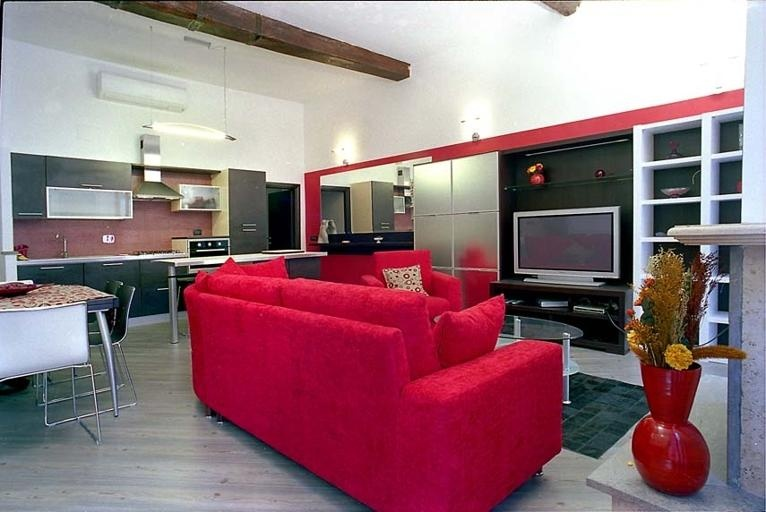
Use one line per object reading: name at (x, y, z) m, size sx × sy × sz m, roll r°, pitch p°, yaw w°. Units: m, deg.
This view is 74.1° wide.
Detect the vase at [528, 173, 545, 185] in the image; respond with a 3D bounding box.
vase at (1.864, -0.934, 6.207) m, size 0.160 × 0.081 × 0.158 m, roll 1°, pitch 9°, yaw 29°

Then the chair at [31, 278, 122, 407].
chair at (-2.612, 0.787, 4.705) m, size 0.989 × 1.086 × 1.217 m, roll -3°, pitch 4°, yaw -36°

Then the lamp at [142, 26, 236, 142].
lamp at (-2.754, -2.199, 7.173) m, size 1.305 × 1.351 × 2.353 m, roll -3°, pitch 4°, yaw -16°

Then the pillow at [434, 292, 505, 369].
pillow at (0.603, 0.538, 3.585) m, size 0.572 × 0.430 × 0.298 m, roll -8°, pitch -19°, yaw -15°

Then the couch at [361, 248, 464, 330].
couch at (0.381, 0.315, 6.049) m, size 1.141 × 0.957 × 0.804 m, roll 0°, pitch -3°, yaw -23°

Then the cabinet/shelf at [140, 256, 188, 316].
cabinet/shelf at (-3.251, 0.455, 7.207) m, size 0.114 × 0.775 × 0.374 m, roll 3°, pitch 7°, yaw 45°

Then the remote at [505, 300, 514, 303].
remote at (1.541, 0.561, 6.228) m, size 0.069 × 0.018 × 0.072 m, roll -1°, pitch 3°, yaw -42°

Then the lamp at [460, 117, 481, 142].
lamp at (1.194, -1.714, 6.893) m, size 0.082 × 0.299 × 0.336 m, roll -7°, pitch 19°, yaw -36°

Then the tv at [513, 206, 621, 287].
tv at (2.174, -0.104, 5.897) m, size 1.062 × 0.694 × 0.316 m, roll 0°, pitch 0°, yaw 37°

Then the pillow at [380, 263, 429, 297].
pillow at (0.246, 0.261, 5.958) m, size 0.428 × 0.367 × 0.126 m, roll -2°, pitch -31°, yaw -2°

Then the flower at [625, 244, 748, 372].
flower at (1.651, 0.291, 2.826) m, size 0.569 × 0.650 × 0.250 m, roll -1°, pitch 5°, yaw 7°

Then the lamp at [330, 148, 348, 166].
lamp at (-0.744, -1.685, 8.683) m, size 0.081 × 0.294 × 0.338 m, roll -7°, pitch 2°, yaw -41°

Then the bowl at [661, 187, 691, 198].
bowl at (3.029, -0.656, 5.265) m, size 0.180 × 0.063 × 0.170 m, roll 0°, pitch 0°, yaw 0°

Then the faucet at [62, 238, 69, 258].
faucet at (-4.358, -0.124, 6.960) m, size 0.053 × 0.256 × 0.088 m, roll -4°, pitch 5°, yaw -19°

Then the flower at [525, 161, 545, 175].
flower at (1.874, -1.075, 6.258) m, size 0.207 × 0.101 × 0.151 m, roll -11°, pitch 13°, yaw -19°

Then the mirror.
mirror at (-0.124, -0.909, 8.037) m, size 2.095 × 1.087 × 0.165 m, roll 2°, pitch 6°, yaw 42°

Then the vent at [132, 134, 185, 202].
vent at (-3.444, -1.307, 7.468) m, size 0.745 × 0.858 × 0.707 m, roll -4°, pitch 12°, yaw -35°

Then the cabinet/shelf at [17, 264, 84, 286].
cabinet/shelf at (-4.151, 0.230, 6.414) m, size 0.611 × 0.372 × 0.350 m, roll 0°, pitch 3°, yaw -35°

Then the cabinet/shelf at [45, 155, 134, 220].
cabinet/shelf at (-4.050, -0.935, 6.913) m, size 1.032 × 0.772 × 0.383 m, roll -1°, pitch 1°, yaw -41°
